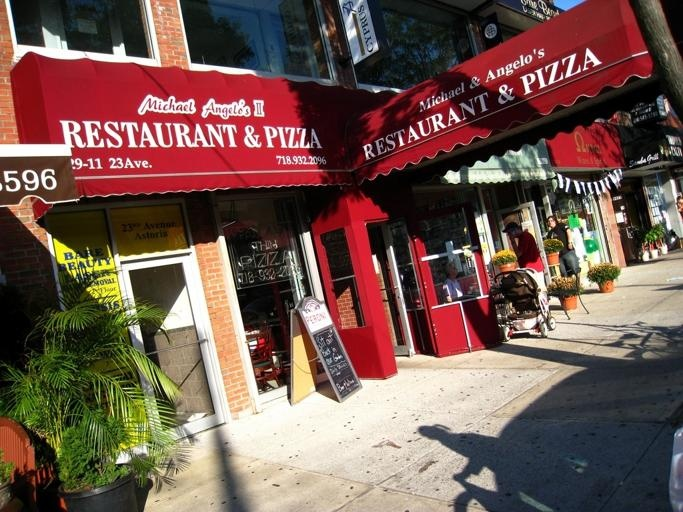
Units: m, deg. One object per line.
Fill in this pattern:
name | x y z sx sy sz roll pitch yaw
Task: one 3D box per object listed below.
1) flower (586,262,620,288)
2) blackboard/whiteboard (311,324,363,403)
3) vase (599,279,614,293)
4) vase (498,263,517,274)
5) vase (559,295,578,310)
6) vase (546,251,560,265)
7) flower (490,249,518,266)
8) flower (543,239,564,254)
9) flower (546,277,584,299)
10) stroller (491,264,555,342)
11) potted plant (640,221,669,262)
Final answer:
flower | 6.798 0.418 12.841 0.615 0.498 0.671 -2 6 13
blackboard/whiteboard | -0.080 1.781 8.468 0.425 1.241 0.664 -9 3 35
vase | 6.861 0.772 12.783 0.339 0.265 0.339 -3 0 -31
vase | 3.737 0.257 11.115 0.238 0.164 0.239 -8 4 26
vase | 5.233 1.043 11.411 0.340 0.274 0.355 -5 1 12
vase | 5.903 0.045 13.831 0.316 0.258 0.329 -5 -1 25
flower | 3.941 0.029 12.092 0.441 0.326 0.445 -11 4 -4
flower | 5.800 -0.277 13.599 0.337 0.298 0.420 -2 10 16
flower | 5.127 0.692 11.442 0.524 0.421 0.533 -5 6 -1
stroller | 3.608 0.899 9.674 1.004 1.287 1.142 -10 -6 18
potted plant | 12.478 -0.547 19.789 0.595 1.111 2.914 -9 4 42
